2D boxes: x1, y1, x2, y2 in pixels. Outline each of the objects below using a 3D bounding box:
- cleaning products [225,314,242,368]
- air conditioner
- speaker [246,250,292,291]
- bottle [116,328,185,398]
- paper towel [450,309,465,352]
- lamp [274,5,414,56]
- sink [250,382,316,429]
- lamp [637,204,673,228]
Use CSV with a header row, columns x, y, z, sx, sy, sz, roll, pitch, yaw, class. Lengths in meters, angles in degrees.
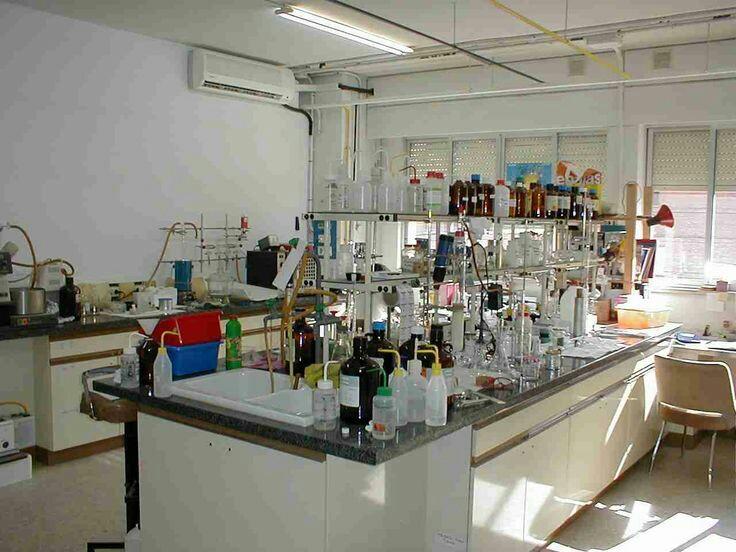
x,y,z,sx,sy,sz,roll,pitch,yaw,class
-0.769,0.364,3.372,0.095,0.300,0.166,-1,7,-13,cleaning products
-1.336,-2.146,6.414,0.224,0.409,1.194,19,17,40,air conditioner
-0.916,-0.059,5.435,0.384,0.358,0.130,3,-2,42,speaker
-1.134,0.430,3.126,0.383,0.312,0.242,5,9,30,bottle
0.580,0.329,3.739,0.074,0.302,0.071,1,7,0,paper towel
-0.236,-2.317,5.488,0.399,0.157,1.507,9,11,44,lamp
-0.410,0.642,2.807,0.292,0.114,0.404,0,8,-8,sink
2.908,-0.568,5.870,0.346,0.262,0.246,-4,1,9,lamp
